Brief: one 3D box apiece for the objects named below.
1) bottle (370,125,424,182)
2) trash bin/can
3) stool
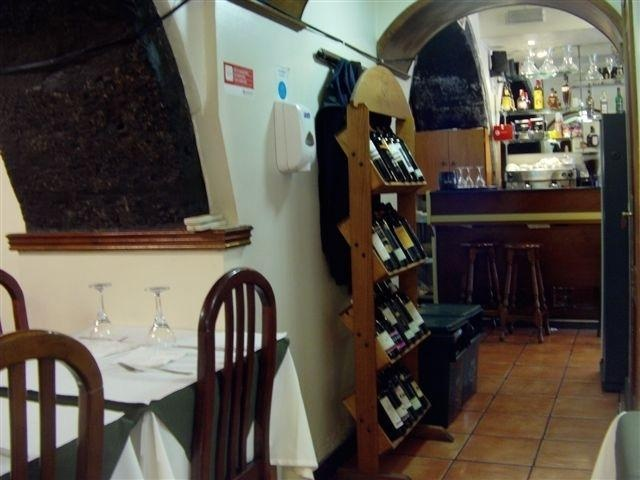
[{"bbox_3d":[0.389,-0.473,3.227,0.092,0.368,0.353,-29,-21,31],"label":"bottle"},{"bbox_3d":[0.875,0.887,4.119,0.502,0.683,0.873,2,4,32],"label":"trash bin/can"},{"bbox_3d":[1.997,0.534,6.003,0.890,1.012,0.679,0,6,24],"label":"stool"}]
